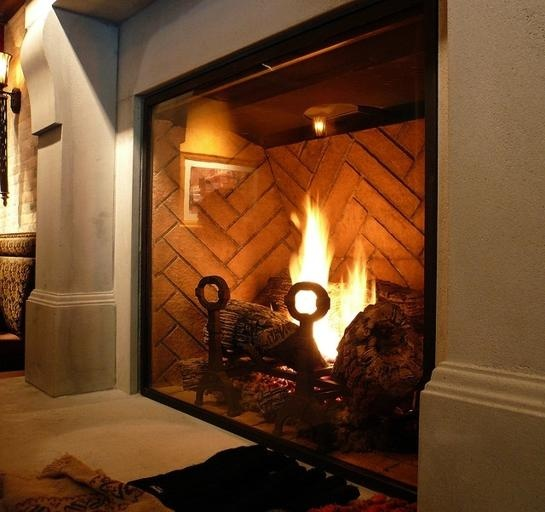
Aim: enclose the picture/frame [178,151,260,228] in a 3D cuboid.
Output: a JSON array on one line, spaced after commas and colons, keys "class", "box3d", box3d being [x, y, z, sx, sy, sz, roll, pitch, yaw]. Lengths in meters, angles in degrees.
[{"class": "picture/frame", "box3d": [-0.320, -0.351, 2.583, 0.499, 0.394, 0.036, 9, 9, 36]}]
